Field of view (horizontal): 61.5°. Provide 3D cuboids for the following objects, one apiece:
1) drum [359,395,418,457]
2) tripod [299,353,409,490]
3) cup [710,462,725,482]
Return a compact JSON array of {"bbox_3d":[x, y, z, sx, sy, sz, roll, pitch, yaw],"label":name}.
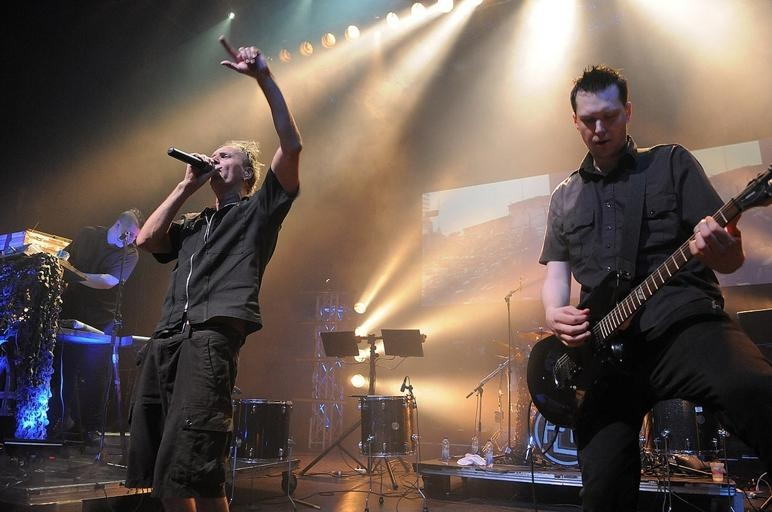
[{"bbox_3d":[0.028,2.294,8.577,0.774,0.704,0.786,-1,-5,4],"label":"drum"},{"bbox_3d":[-0.606,2.433,10.286,1.808,2.561,1.977,5,-10,-6],"label":"tripod"},{"bbox_3d":[3.869,2.526,7.545,0.156,0.169,0.151,1,-8,0],"label":"cup"}]
